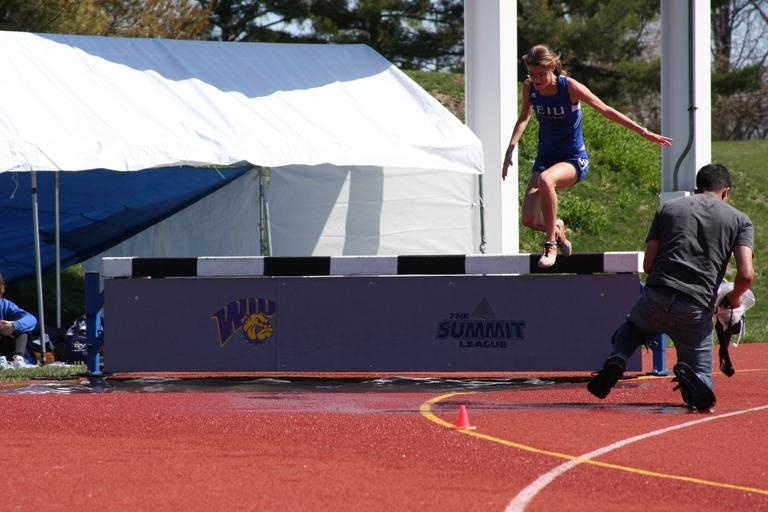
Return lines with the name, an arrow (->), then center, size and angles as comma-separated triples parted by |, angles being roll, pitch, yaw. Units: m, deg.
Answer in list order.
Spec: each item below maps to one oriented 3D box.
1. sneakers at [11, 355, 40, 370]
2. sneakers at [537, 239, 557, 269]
sneakers -> -5.288, 1.587, 23.412 | 0.503, 0.201, 0.168 | 0, 1, 20
sneakers -> 2.275, -0.017, 21.732 | 0.179, 0.428, 0.195 | 4, -5, 24
